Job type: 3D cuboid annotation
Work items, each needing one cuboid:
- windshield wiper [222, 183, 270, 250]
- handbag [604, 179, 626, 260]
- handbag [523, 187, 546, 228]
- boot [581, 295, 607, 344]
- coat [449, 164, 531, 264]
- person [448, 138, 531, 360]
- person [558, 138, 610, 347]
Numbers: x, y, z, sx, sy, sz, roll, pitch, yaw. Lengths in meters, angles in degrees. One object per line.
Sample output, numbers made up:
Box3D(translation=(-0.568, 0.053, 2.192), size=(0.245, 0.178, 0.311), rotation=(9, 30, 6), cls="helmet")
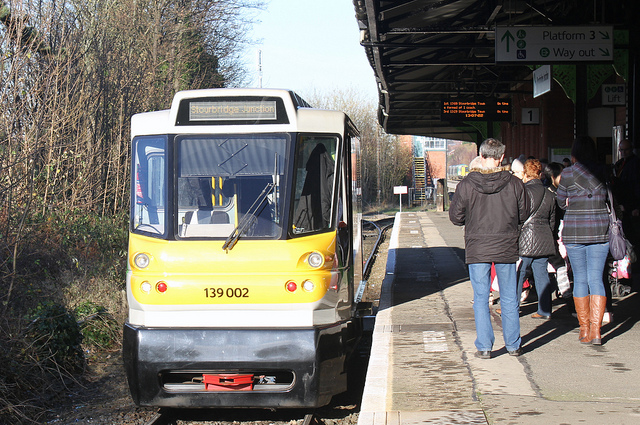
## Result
Box3D(translation=(-1.002, 0.085, 9.268), size=(0.079, 1.029, 0.088), rotation=(35, 4, -46), cls="windshield wiper")
Box3D(translation=(4.325, 0.091, 9.867), size=(0.262, 1.162, 0.365), rotation=(-3, 6, -4), cls="handbag")
Box3D(translation=(3.320, -0.036, 10.506), size=(0.499, 0.124, 0.543), rotation=(-39, 13, 38), cls="handbag")
Box3D(translation=(3.982, 1.541, 9.809), size=(0.327, 0.739, 0.148), rotation=(0, 6, 22), cls="boot")
Box3D(translation=(2.311, 0.024, 9.874), size=(1.326, 1.921, 1.161), rotation=(-1, 0, 8), cls="coat")
Box3D(translation=(2.452, 0.449, 9.728), size=(0.981, 3.200, 1.034), rotation=(-6, 14, -2), cls="person")
Box3D(translation=(3.902, 0.409, 9.919), size=(0.670, 2.985, 0.573), rotation=(0, 6, 26), cls="person")
